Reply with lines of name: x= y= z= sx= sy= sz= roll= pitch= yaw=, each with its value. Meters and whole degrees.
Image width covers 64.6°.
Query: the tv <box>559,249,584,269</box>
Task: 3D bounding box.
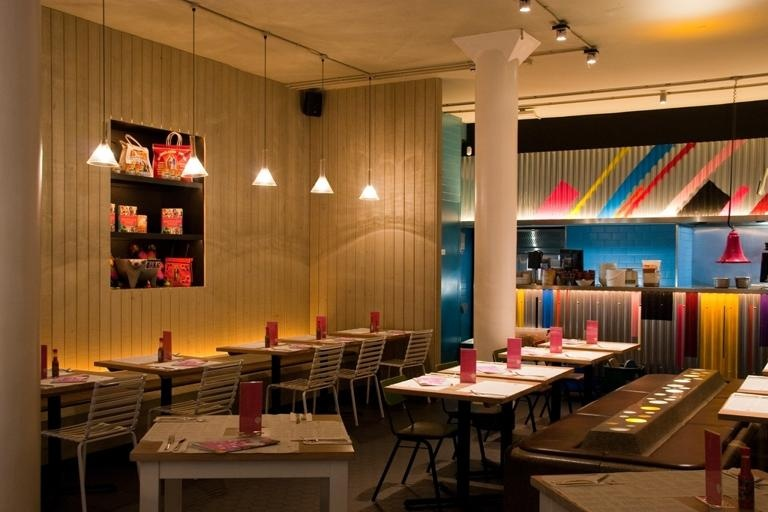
tv: x=3.067 y=0.060 z=9.917 sx=0.434 sy=0.290 sz=0.411 roll=1 pitch=2 yaw=16

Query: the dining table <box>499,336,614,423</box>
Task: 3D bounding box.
dining table: x=2.027 y=1.236 z=6.932 sx=1.240 sy=0.697 sz=1.258 roll=0 pitch=2 yaw=38

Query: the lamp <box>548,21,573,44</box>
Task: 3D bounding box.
lamp: x=2.071 y=-2.615 z=7.099 sx=0.213 sy=0.222 sz=0.245 roll=-1 pitch=0 yaw=29

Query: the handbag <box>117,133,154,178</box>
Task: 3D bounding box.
handbag: x=-3.090 y=-1.261 z=7.579 sx=0.400 sy=0.543 sz=0.416 roll=-1 pitch=3 yaw=-21

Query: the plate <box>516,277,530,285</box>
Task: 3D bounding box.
plate: x=2.323 y=0.401 z=10.079 sx=0.192 sy=0.124 sz=0.434 roll=1 pitch=3 yaw=12

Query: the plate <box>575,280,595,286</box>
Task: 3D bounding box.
plate: x=3.176 y=0.425 z=9.575 sx=0.259 sy=0.118 sz=0.134 roll=1 pitch=3 yaw=11

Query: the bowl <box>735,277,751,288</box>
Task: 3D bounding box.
bowl: x=5.209 y=0.387 z=8.793 sx=0.203 sy=0.138 sz=0.168 roll=-2 pitch=-3 yaw=34

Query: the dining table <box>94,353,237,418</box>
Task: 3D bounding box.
dining table: x=-2.299 y=1.165 z=6.649 sx=0.937 sy=0.849 sz=0.948 roll=2 pitch=2 yaw=37

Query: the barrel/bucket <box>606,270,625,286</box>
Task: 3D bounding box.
barrel/bucket: x=3.593 y=0.348 z=9.410 sx=0.267 sy=0.229 sz=0.270 roll=3 pitch=-1 yaw=0

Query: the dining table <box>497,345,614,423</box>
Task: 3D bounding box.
dining table: x=2.089 y=1.263 z=6.983 sx=1.072 sy=0.632 sz=1.079 roll=1 pitch=3 yaw=35

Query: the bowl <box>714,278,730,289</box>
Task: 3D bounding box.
bowl: x=4.961 y=0.401 z=8.902 sx=0.190 sy=0.125 sz=0.180 roll=1 pitch=2 yaw=0

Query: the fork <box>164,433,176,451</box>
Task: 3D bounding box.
fork: x=-1.370 y=1.205 z=3.905 sx=0.035 sy=0.014 sz=0.168 roll=1 pitch=3 yaw=-11

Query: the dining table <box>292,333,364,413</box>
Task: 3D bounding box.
dining table: x=-0.749 y=1.495 z=8.183 sx=0.952 sy=0.870 sz=0.975 roll=0 pitch=1 yaw=43

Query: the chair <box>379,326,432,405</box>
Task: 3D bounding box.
chair: x=0.207 y=1.370 z=8.611 sx=0.805 sy=1.015 sz=0.636 roll=1 pitch=-1 yaw=41

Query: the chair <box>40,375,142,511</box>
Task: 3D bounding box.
chair: x=-2.493 y=1.637 z=5.356 sx=0.685 sy=1.141 sz=0.751 roll=-2 pitch=4 yaw=-38

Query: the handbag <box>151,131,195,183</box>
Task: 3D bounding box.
handbag: x=-2.749 y=-1.298 z=7.897 sx=0.466 sy=0.624 sz=0.472 roll=0 pitch=3 yaw=-16

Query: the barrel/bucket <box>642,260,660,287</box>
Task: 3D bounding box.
barrel/bucket: x=4.077 y=0.274 z=9.238 sx=0.227 sy=0.386 sz=0.144 roll=1 pitch=3 yaw=9

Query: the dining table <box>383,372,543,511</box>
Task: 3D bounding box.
dining table: x=0.707 y=1.670 z=5.506 sx=1.195 sy=1.094 sz=0.892 roll=2 pitch=3 yaw=24
